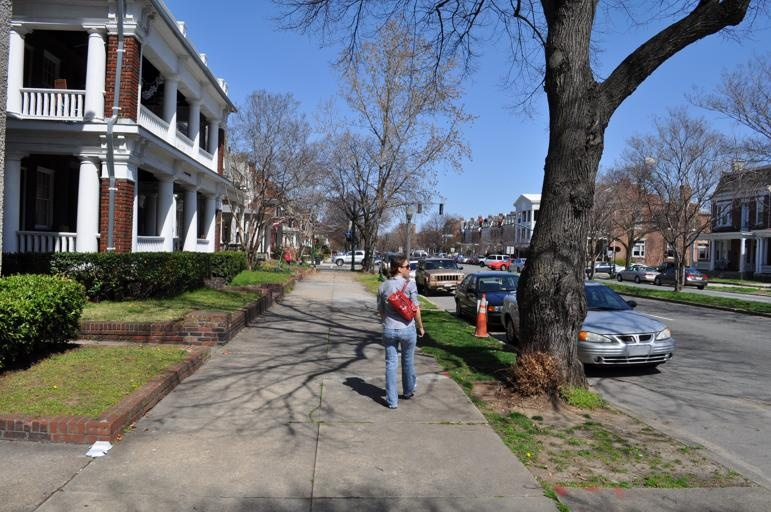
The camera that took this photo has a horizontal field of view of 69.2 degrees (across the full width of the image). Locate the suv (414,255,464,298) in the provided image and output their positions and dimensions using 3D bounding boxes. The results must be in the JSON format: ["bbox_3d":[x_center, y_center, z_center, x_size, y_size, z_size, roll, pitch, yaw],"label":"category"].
[{"bbox_3d":[2.706,1.019,28.714,1.577,1.274,2.788,0,-3,-11],"label":"suv"}]

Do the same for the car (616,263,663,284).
[{"bbox_3d":[20.558,1.420,45.816,1.324,0.972,3.186,0,4,-11],"label":"car"}]

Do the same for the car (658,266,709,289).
[{"bbox_3d":[21.661,1.567,40.990,2.231,1.683,3.540,1,10,-3],"label":"car"}]

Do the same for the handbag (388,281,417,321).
[{"bbox_3d":[0.264,0.747,9.362,0.423,0.489,0.236,46,-15,-18],"label":"handbag"}]
